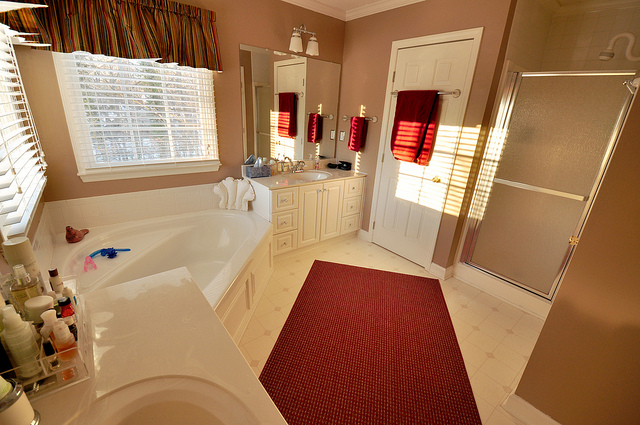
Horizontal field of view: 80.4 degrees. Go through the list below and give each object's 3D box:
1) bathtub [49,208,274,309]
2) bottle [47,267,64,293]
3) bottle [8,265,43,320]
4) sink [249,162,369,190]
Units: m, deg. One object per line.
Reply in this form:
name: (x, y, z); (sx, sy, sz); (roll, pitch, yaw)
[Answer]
bathtub: (-1.590, 0.323, 3.746); (1.337, 0.284, 0.969); (-14, 34, -38)
bottle: (-1.591, 0.402, 2.274); (0.064, 0.144, 0.092); (-12, 24, -35)
bottle: (-1.736, 0.460, 2.236); (0.133, 0.329, 0.134); (0, 22, 0)
sink: (-0.155, -0.471, 4.571); (1.404, 0.187, 0.532); (-11, 23, -37)
